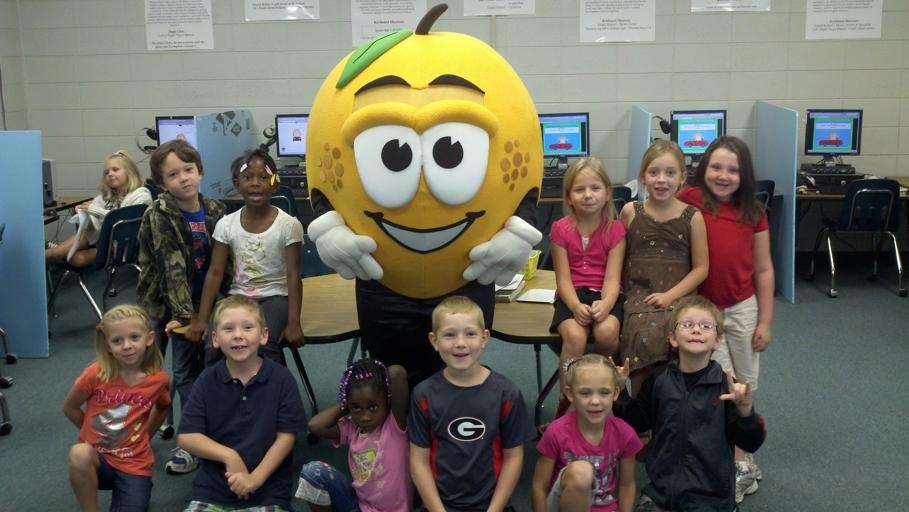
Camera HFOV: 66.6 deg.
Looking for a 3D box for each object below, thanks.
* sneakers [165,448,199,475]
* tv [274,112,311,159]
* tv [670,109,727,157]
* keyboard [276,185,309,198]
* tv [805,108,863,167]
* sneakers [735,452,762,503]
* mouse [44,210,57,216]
[{"bbox_3d":[-1.843,1.395,4.675,0.175,0.114,0.283,-1,8,-27],"label":"sneakers"},{"bbox_3d":[-1.854,-1.392,8.003,0.051,0.470,0.532,11,16,38],"label":"tv"},{"bbox_3d":[2.721,-1.331,7.816,0.773,0.630,0.148,-5,7,-20],"label":"tv"},{"bbox_3d":[-1.701,-0.676,7.144,0.269,0.062,0.278,1,9,4],"label":"keyboard"},{"bbox_3d":[4.240,-1.362,7.752,0.736,0.679,0.250,0,7,5],"label":"tv"},{"bbox_3d":[1.925,1.427,4.446,0.138,0.171,0.388,-2,5,36],"label":"sneakers"},{"bbox_3d":[-4.046,-0.434,6.924,0.119,0.037,0.119,2,7,4],"label":"mouse"}]
